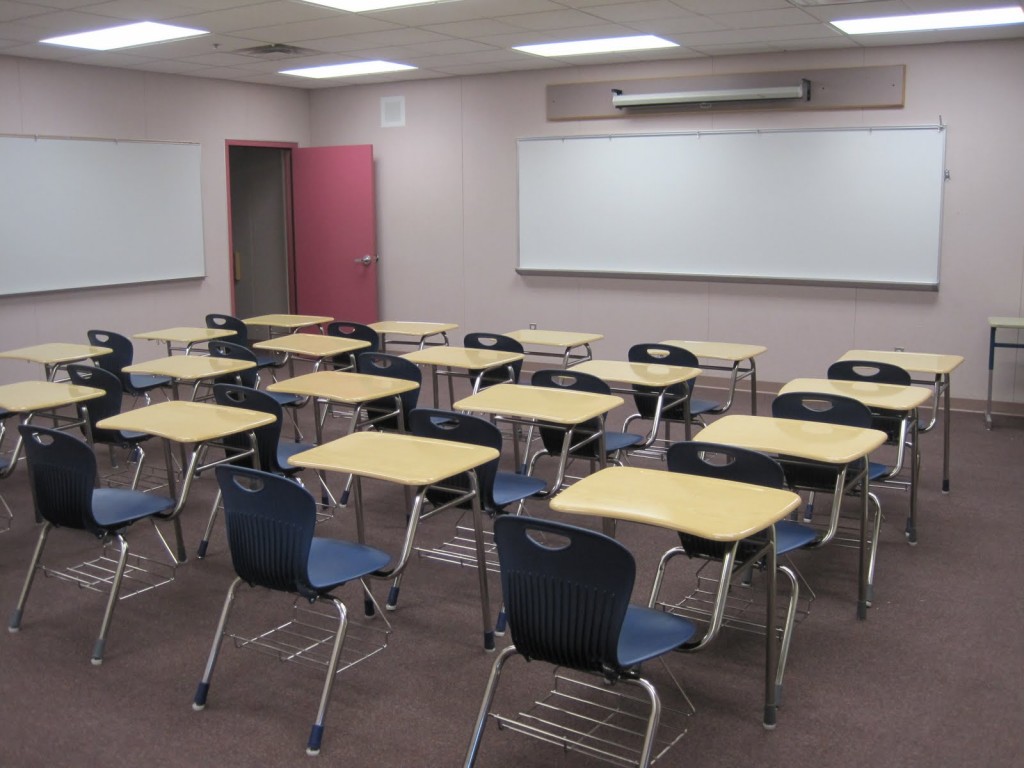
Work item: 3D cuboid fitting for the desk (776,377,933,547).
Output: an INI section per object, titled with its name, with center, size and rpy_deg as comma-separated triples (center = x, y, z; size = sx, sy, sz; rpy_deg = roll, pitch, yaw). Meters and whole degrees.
[desk]
center = 1.810, 0.427, 4.031
size = 0.752, 0.695, 0.917
rpy_deg = -9, 12, -38
